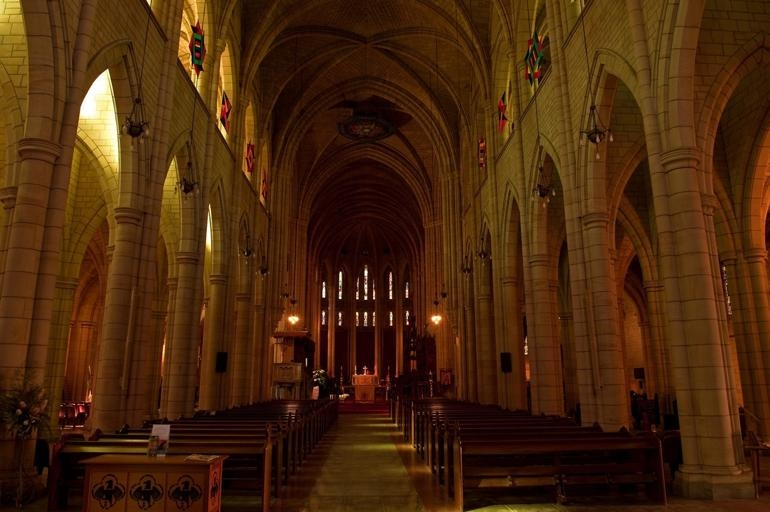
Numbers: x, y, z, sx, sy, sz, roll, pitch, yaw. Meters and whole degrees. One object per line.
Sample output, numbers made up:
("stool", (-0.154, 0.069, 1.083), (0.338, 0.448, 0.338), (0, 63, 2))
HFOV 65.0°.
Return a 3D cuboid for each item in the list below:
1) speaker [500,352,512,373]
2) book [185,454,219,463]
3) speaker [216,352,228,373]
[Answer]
("speaker", (4.725, 4.122, 23.411), (0.464, 0.722, 0.369), (-5, -20, 11))
("book", (-3.374, 3.743, 11.131), (0.566, 0.127, 0.451), (6, -22, -17))
("speaker", (-6.353, 4.063, 23.406), (0.427, 0.808, 0.568), (-5, -21, 12))
